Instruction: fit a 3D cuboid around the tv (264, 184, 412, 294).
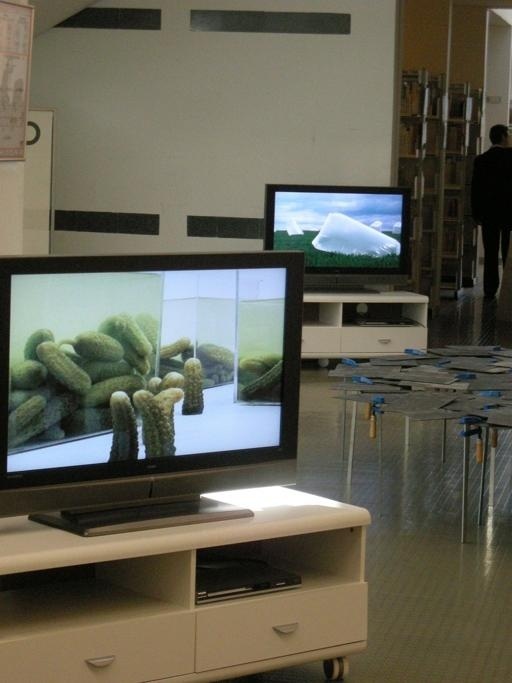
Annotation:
[{"bbox_3d":[0.712,-0.937,5.890,1.432,0.906,0.418,0,6,-4],"label":"tv"}]
